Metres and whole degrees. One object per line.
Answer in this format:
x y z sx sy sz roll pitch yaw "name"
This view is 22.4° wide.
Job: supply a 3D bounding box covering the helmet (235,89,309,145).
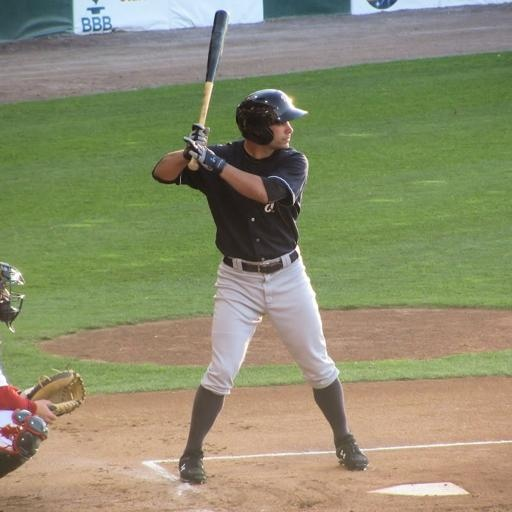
0.111 -1.105 10.208 0.535 0.428 0.320 3 11 -3 "helmet"
